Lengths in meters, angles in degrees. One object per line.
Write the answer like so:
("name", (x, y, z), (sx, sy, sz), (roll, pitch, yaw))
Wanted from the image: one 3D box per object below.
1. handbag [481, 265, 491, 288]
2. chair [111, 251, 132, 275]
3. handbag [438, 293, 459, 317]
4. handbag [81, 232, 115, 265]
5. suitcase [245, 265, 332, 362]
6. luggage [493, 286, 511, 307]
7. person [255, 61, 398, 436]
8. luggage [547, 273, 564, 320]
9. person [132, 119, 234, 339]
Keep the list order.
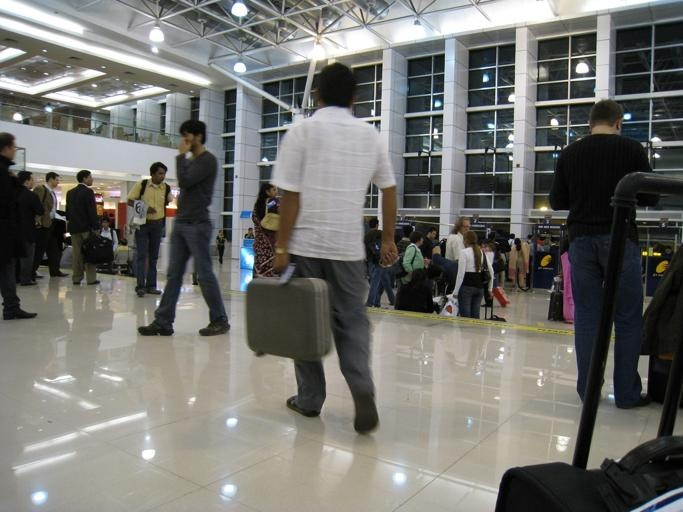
("handbag", (1.935, 0.288, 6.907), (0.094, 0.250, 0.290), (4, 5, 23))
("chair", (-5.063, 0.185, 11.884), (0.495, 0.630, 0.506), (1, -14, -7))
("handbag", (1.426, 0.647, 6.801), (0.246, 0.283, 0.361), (3, 4, 11))
("handbag", (-3.727, -0.105, 7.851), (0.420, 0.453, 0.331), (0, 5, -22))
("suitcase", (-0.274, 0.319, 2.676), (0.476, 0.408, 0.185), (1, 4, 32))
("luggage", (3.060, 0.792, 9.881), (0.092, 0.337, 0.339), (-33, 27, -5))
("person", (-0.031, -0.065, 2.774), (0.644, 1.948, 0.402), (2, 5, 6))
("luggage", (3.490, 0.684, 8.433), (0.244, 0.650, 0.699), (3, -3, 24))
("person", (-1.384, -0.241, 4.617), (0.644, 1.966, 0.515), (2, 5, 1))
